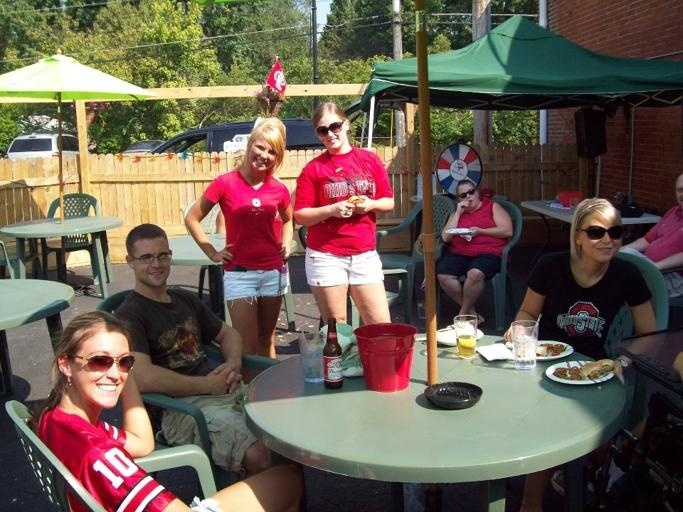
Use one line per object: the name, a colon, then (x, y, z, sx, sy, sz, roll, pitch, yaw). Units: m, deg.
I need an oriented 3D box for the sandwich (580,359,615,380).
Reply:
sandwich: (1.138, 0.504, 2.654, 0.112, 0.040, 0.087, -10, 14, -22)

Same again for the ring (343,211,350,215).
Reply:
ring: (0.031, -0.285, 3.872, 0.028, 0.008, 0.029, -3, -34, -2)

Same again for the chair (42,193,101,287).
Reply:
chair: (-3.904, -0.270, 8.602, 0.720, 1.209, 0.736, -1, -3, -24)

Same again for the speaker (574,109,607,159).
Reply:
speaker: (3.449, -1.726, 8.237, 0.414, 0.704, 0.400, 2, 12, 11)

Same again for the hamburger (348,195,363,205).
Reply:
hamburger: (0.087, -0.377, 3.888, 0.057, 0.029, 0.083, 7, 15, 34)

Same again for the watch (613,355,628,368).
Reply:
watch: (1.330, 0.502, 2.814, 0.067, 0.044, 0.087, -3, 3, 0)

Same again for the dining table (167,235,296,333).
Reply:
dining table: (-1.149, 0.148, 6.143, 1.174, 0.938, 1.214, -3, 10, -26)

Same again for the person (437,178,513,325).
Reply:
person: (1.337, -0.130, 6.198, 0.705, 1.288, 0.893, 9, 15, 40)

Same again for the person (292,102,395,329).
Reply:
person: (0.019, -0.259, 4.016, 0.691, 1.575, 0.605, -2, 11, -5)

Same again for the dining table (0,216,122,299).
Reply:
dining table: (-3.554, 0.116, 7.665, 1.240, 0.850, 1.252, -3, 9, -20)

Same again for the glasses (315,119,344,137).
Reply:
glasses: (-0.078, -0.862, 3.935, 0.192, 0.108, 0.071, -2, 11, -5)

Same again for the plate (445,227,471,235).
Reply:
plate: (1.223, -0.252, 6.182, 0.269, 0.086, 0.166, 10, 16, 41)

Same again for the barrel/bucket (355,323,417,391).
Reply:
barrel/bucket: (0.184, 0.424, 2.661, 0.268, 0.223, 0.280, -2, 4, 0)

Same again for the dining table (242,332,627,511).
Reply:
dining table: (0.436, 0.690, 2.530, 0.923, 0.616, 0.950, -2, 7, -6)

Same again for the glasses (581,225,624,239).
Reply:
glasses: (1.388, -0.133, 3.139, 0.203, 0.072, 0.085, -2, 12, -6)
